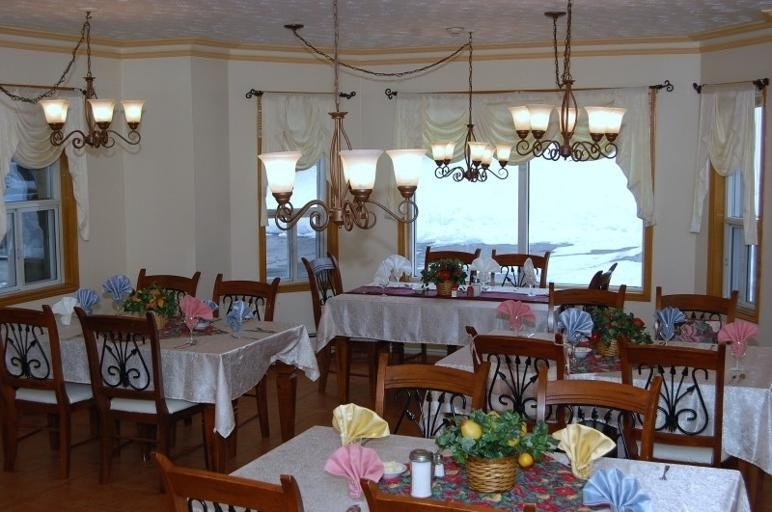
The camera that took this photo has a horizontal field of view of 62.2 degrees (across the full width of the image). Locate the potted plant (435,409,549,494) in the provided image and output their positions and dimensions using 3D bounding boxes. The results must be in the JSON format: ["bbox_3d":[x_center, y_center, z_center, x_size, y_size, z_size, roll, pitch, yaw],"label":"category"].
[{"bbox_3d":[0.502,0.857,2.953,0.443,0.287,0.360,-1,-1,4],"label":"potted plant"}]

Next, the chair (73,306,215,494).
[{"bbox_3d":[-1.865,1.019,4.748,0.818,1.285,0.403,1,6,23],"label":"chair"}]

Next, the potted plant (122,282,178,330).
[{"bbox_3d":[-1.884,0.375,5.238,0.385,0.288,0.393,1,3,-3],"label":"potted plant"}]

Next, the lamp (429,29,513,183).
[{"bbox_3d":[0.905,-1.531,6.716,0.762,1.498,0.773,0,0,-43],"label":"lamp"}]

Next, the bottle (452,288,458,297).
[{"bbox_3d":[0.682,0.367,6.350,0.068,0.074,0.069,2,0,-16],"label":"bottle"}]

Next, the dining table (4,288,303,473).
[{"bbox_3d":[-1.416,0.674,4.944,1.845,0.943,1.336,2,3,24],"label":"dining table"}]

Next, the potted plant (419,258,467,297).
[{"bbox_3d":[0.575,0.203,6.426,0.363,0.349,0.383,1,2,31],"label":"potted plant"}]

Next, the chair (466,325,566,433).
[{"bbox_3d":[0.850,0.754,4.181,0.568,0.944,0.642,4,16,16],"label":"chair"}]

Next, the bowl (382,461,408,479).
[{"bbox_3d":[0.049,1.002,3.036,0.106,0.071,0.169,-1,5,3],"label":"bowl"}]

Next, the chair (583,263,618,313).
[{"bbox_3d":[2.057,0.282,6.125,0.309,0.401,0.285,-1,-1,3],"label":"chair"}]

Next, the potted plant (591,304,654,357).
[{"bbox_3d":[1.724,0.597,4.762,0.502,0.373,0.494,11,-17,-30],"label":"potted plant"}]

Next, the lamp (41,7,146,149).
[{"bbox_3d":[-2.699,-1.609,5.900,0.914,1.372,0.832,-3,9,-20],"label":"lamp"}]

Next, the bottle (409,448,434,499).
[{"bbox_3d":[0.156,0.972,2.862,0.112,0.183,0.111,0,-9,0],"label":"bottle"}]

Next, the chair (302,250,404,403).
[{"bbox_3d":[-0.332,0.757,6.655,0.864,1.490,0.820,3,0,-26],"label":"chair"}]
